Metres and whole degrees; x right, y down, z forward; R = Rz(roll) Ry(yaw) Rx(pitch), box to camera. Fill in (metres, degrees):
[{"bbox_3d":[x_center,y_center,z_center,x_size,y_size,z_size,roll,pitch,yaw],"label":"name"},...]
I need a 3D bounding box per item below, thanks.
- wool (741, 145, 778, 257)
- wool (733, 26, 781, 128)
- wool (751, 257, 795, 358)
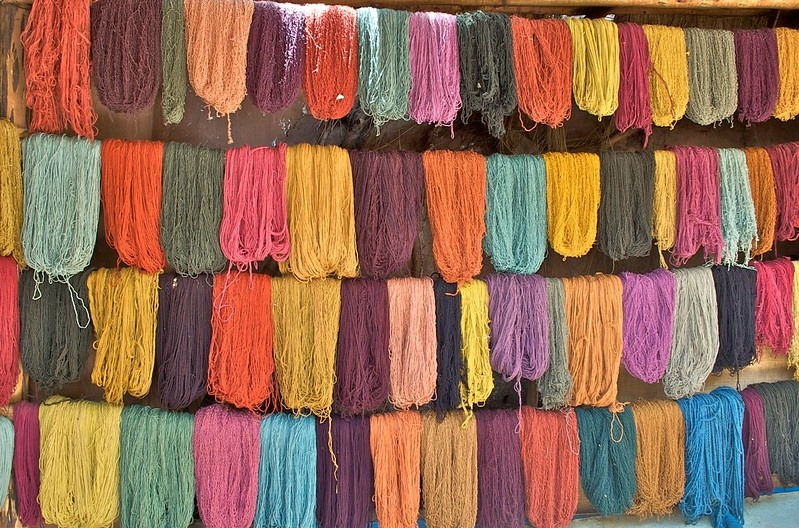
[{"bbox_3d":[1.543,-0.281,4.261,0.198,0.077,0.384,-1,92,-16],"label":"wool"},{"bbox_3d":[1.503,-0.802,4.206,0.196,0.107,0.353,1,92,-8],"label":"wool"},{"bbox_3d":[1.616,0.175,4.297,0.200,0.122,0.366,2,88,-8],"label":"wool"}]
